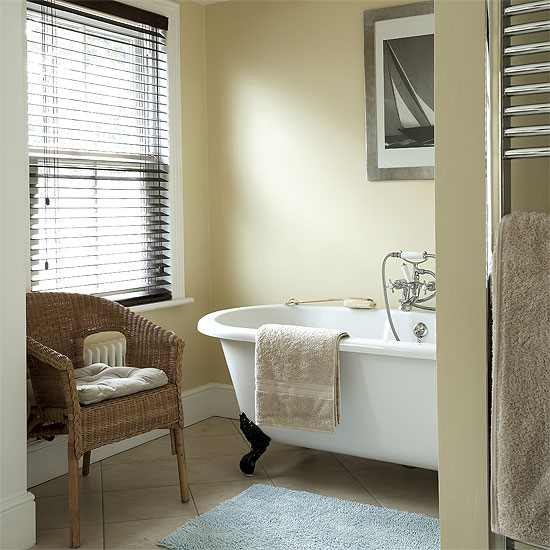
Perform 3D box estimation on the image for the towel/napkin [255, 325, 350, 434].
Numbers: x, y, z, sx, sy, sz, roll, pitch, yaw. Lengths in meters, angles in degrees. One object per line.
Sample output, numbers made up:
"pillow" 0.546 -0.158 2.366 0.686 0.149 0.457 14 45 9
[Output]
"towel/napkin" 0.088 0.434 2.399 0.483 0.424 0.504 3 1 -13
